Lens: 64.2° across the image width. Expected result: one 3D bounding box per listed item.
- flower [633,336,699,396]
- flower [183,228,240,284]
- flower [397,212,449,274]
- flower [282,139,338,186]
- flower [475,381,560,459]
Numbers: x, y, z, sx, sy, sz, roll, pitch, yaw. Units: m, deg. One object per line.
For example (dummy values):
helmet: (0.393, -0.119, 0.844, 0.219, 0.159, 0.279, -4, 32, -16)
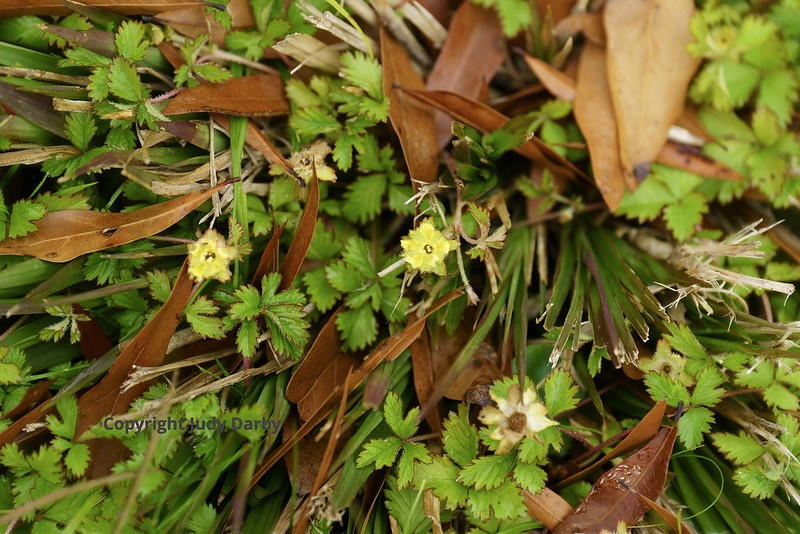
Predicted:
flower: (0.707, 0.259, 1.644, 0.114, 0.047, 0.139, -11, 82, 1)
flower: (-0.448, -0.022, 1.542, 0.117, 0.052, 0.127, 38, 77, -3)
flower: (0.073, -0.042, 1.639, 0.135, 0.143, 0.132, 26, 80, 2)
flower: (-0.212, -0.284, 1.732, 0.048, 0.119, 0.139, -21, 73, 18)
flower: (0.290, 0.372, 1.611, 0.174, 0.071, 0.164, -24, 83, -7)
